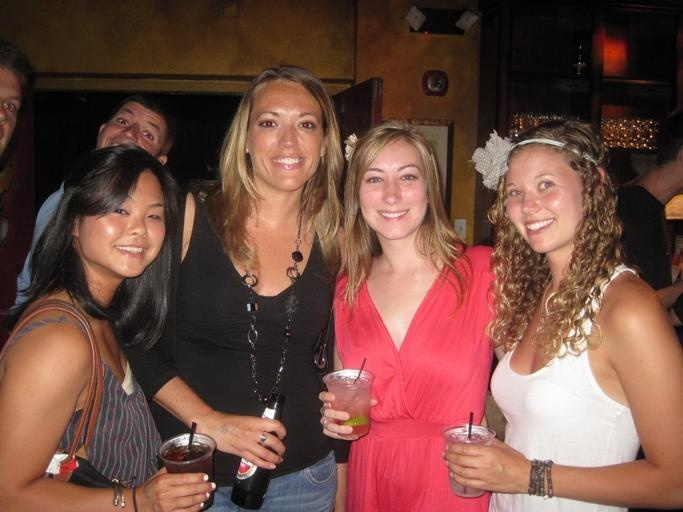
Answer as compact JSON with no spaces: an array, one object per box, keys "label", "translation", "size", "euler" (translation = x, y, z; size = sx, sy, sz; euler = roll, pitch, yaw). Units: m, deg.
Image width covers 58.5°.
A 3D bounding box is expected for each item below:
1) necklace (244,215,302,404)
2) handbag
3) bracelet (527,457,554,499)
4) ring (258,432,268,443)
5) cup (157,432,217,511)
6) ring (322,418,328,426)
[{"label":"necklace","translation":[-0.325,0.343,3.030],"size":[0.328,0.747,0.294],"euler":[3,1,-21]},{"label":"handbag","translation":[-1.169,0.585,2.594],"size":[0.486,0.596,0.194],"euler":[3,1,-20]},{"label":"bracelet","translation":[0.902,1.011,2.749],"size":[0.104,0.168,0.170],"euler":[3,-3,17]},{"label":"ring","translation":[-0.355,0.835,2.786],"size":[0.035,0.037,0.035],"euler":[45,6,-6]},{"label":"cup","translation":[-0.629,0.892,2.636],"size":[0.288,0.255,0.285],"euler":[-1,5,0]},{"label":"ring","translation":[-0.083,0.822,3.007],"size":[0.031,0.014,0.040],"euler":[-1,26,4]}]
